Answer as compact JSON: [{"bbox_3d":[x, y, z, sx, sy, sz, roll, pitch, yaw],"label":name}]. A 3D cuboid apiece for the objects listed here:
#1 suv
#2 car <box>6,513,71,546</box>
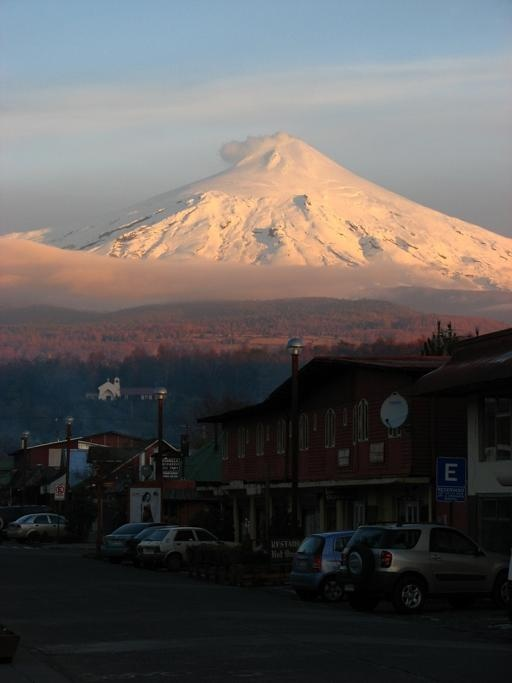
[{"bbox_3d":[2.765,3.636,21.641,2.684,1.211,1.311,-2,-1,-31],"label":"suv"},{"bbox_3d":[-10.378,8.894,62.705,3.115,1.020,1.412,-3,4,-35],"label":"car"}]
